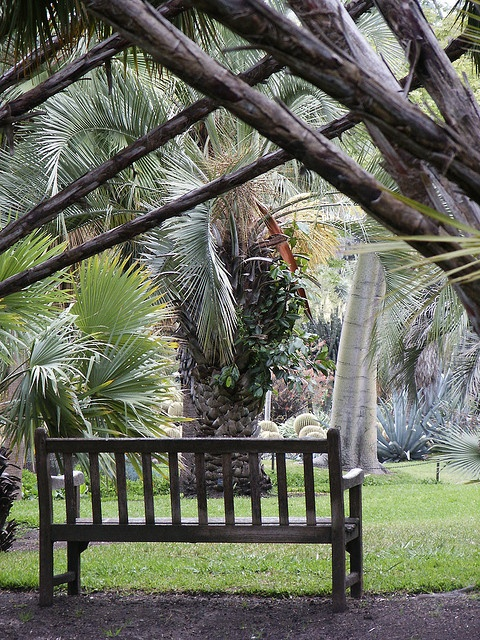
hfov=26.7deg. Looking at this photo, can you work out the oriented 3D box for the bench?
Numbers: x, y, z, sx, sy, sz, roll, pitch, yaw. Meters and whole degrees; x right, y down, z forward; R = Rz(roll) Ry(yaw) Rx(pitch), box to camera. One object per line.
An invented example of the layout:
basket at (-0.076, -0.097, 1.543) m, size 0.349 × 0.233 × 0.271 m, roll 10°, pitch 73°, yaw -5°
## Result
bench at (-0.186, 1.098, 5.533) m, size 1.731 × 0.926 × 0.665 m, roll 0°, pitch -5°, yaw 2°
